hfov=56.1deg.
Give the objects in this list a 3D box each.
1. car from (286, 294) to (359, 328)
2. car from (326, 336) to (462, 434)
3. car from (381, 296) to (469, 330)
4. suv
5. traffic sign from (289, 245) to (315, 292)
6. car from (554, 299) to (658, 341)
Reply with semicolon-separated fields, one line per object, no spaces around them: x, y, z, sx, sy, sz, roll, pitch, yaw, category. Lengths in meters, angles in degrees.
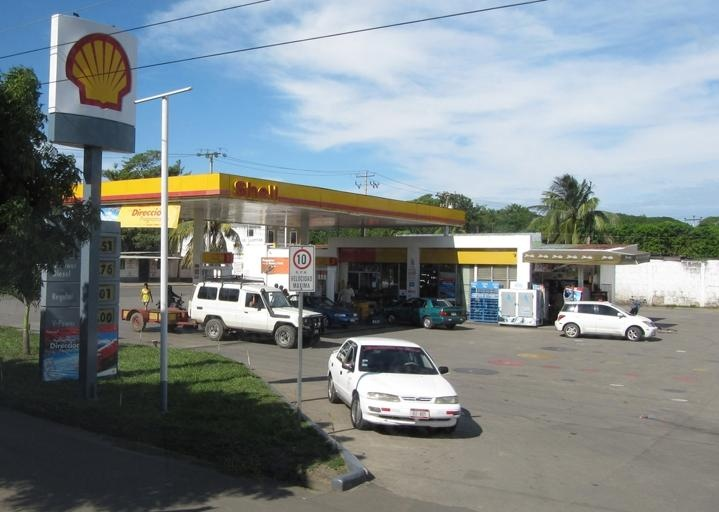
-1.876;2.681;33.157;3.211;1.112;1.469;0;0;35;car
0.728;3.151;16.449;2.087;1.801;3.534;0;5;-30;car
3.302;2.963;34.795;3.951;1.657;1.171;7;6;45;car
-4.075;2.312;27.758;4.927;2.406;2.458;0;0;27;suv
-1.320;0.282;15.062;0.648;1.025;0.510;0;5;-28;traffic sign
11.364;3.051;31.143;3.667;1.376;1.990;-3;-2;23;car
